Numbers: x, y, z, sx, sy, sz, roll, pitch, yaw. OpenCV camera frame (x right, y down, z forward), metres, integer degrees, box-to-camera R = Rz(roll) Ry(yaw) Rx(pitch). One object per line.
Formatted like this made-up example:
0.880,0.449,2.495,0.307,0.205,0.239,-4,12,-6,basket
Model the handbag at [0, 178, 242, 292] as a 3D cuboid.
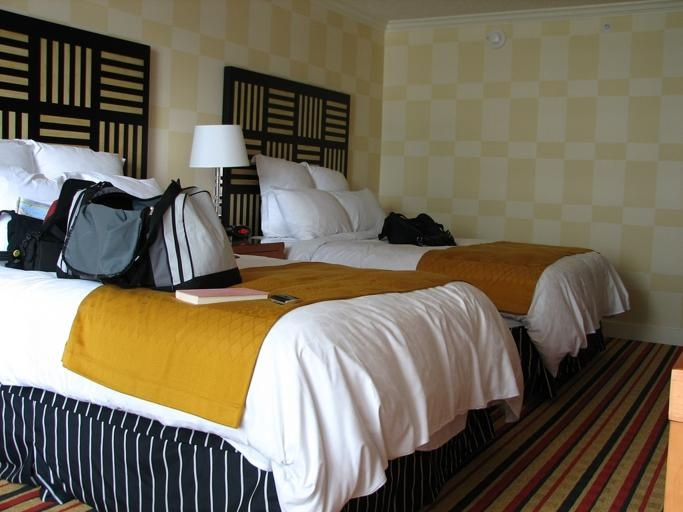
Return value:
-0.985,-0.085,2.349,0.735,0.362,0.558,6,4,17,handbag
